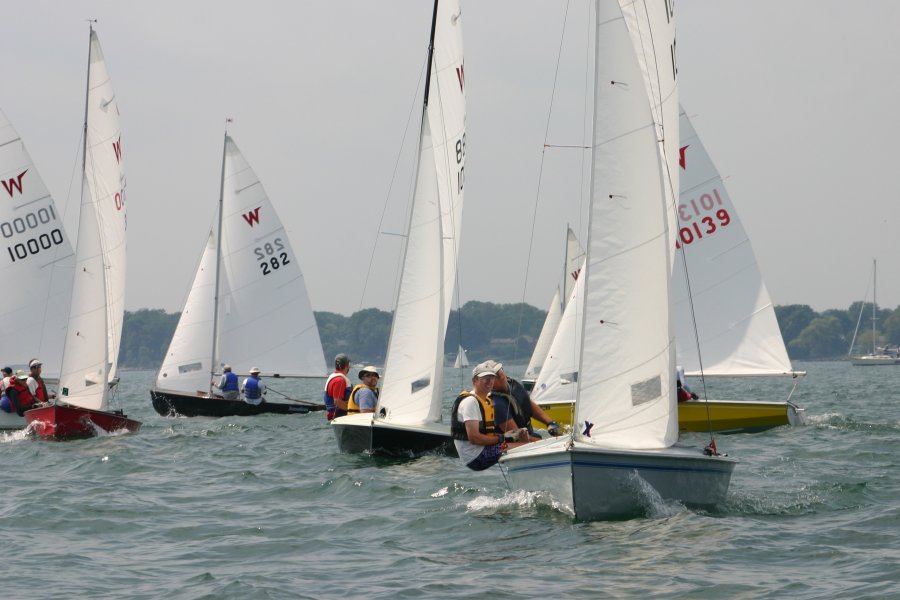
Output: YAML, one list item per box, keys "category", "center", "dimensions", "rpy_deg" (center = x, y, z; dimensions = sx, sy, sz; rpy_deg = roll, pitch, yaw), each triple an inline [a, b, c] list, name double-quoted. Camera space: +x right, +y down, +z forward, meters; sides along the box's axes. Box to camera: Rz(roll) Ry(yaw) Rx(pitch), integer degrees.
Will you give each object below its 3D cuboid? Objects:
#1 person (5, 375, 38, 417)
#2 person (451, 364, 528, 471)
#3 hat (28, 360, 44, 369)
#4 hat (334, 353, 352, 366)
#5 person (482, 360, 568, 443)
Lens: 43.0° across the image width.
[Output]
- category: "person"
  center: [-8.089, 1.841, 21.791]
  dimensions: [0.593, 0.819, 0.332]
  rpy_deg: [-2, 10, 24]
- category: "person"
  center: [0.618, 1.688, 16.387]
  dimensions: [1.135, 1.538, 0.898]
  rpy_deg: [-1, 0, -1]
- category: "hat"
  center: [-8.247, 1.297, 22.685]
  dimensions: [0.236, 0.156, 0.351]
  rpy_deg: [-6, -11, -16]
- category: "hat"
  center: [-1.933, 1.073, 20.200]
  dimensions: [0.181, 0.236, 0.239]
  rpy_deg: [1, 8, 7]
- category: "person"
  center: [1.267, 1.712, 18.809]
  dimensions: [0.796, 1.521, 0.770]
  rpy_deg: [-24, 23, 22]
